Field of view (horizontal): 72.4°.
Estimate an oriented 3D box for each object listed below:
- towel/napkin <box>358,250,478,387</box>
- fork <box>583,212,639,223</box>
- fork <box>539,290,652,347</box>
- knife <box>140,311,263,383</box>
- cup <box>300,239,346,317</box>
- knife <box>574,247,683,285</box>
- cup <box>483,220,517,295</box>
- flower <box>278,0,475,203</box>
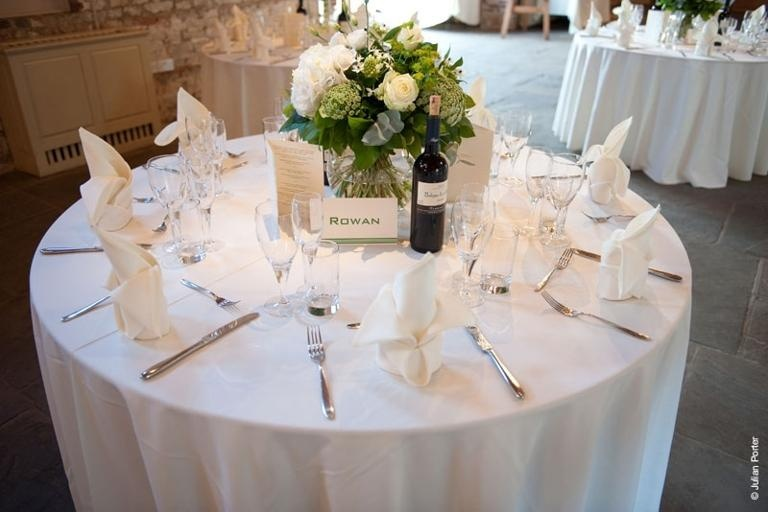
[{"bbox_3d":[0.098,0.182,1.607,0.357,0.365,0.206,4,23,6],"label":"towel/napkin"},{"bbox_3d":[0.956,-0.160,2.197,0.244,0.046,0.048,-3,50,1],"label":"fork"},{"bbox_3d":[0.719,0.216,1.768,0.256,0.040,0.036,30,52,19],"label":"fork"},{"bbox_3d":[-0.587,0.298,1.672,0.373,0.021,0.054,-30,57,-34],"label":"knife"},{"bbox_3d":[-0.213,0.072,1.855,0.139,0.262,0.150,0,0,0],"label":"cup"},{"bbox_3d":[0.882,0.040,1.888,0.355,0.046,0.017,20,11,17],"label":"knife"},{"bbox_3d":[0.415,0.007,1.924,0.144,0.251,0.150,2,2,0],"label":"cup"},{"bbox_3d":[-0.023,-0.640,2.281,0.714,0.801,0.755,9,28,17],"label":"flower"}]
